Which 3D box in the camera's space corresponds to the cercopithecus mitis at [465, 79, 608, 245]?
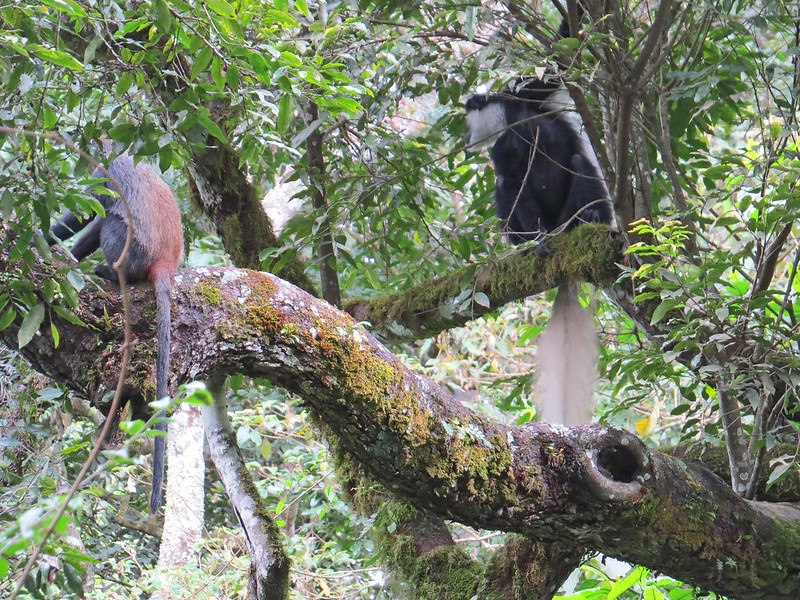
[{"bbox_3d":[0.722,-0.649,5.815,0.673,0.979,0.678,-12,-25,30],"label":"cercopithecus mitis"}]
